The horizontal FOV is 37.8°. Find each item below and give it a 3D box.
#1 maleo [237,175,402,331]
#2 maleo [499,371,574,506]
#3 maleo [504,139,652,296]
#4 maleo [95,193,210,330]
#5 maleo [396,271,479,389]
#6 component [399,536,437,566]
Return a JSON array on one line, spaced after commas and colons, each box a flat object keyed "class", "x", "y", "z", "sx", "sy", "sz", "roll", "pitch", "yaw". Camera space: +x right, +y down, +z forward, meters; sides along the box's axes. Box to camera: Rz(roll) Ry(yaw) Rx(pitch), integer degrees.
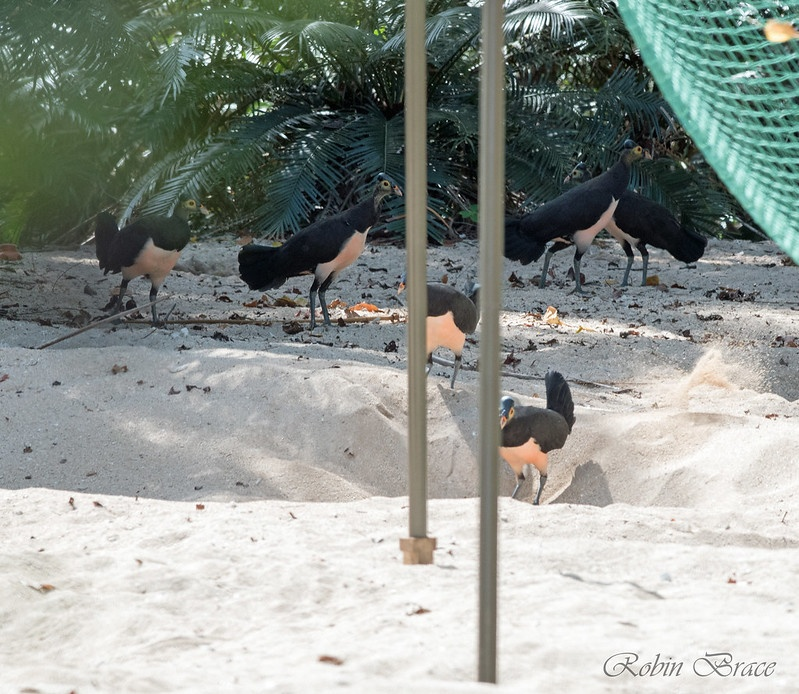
[{"class": "maleo", "x": -0.692, "y": -0.764, "z": 9.359, "sx": 1.174, "sy": 1.176, "sz": 0.424, "roll": 3, "pitch": 14, "yaw": -2}, {"class": "maleo", "x": 0.745, "y": 0.534, "z": 6.961, "sx": 0.403, "sy": 0.774, "sz": 1.104, "roll": 1, "pitch": 1, "yaw": 28}, {"class": "maleo", "x": 1.501, "y": -1.188, "z": 10.558, "sx": 1.577, "sy": 1.027, "sz": 0.451, "roll": -8, "pitch": 13, "yaw": 2}, {"class": "maleo", "x": -2.035, "y": -0.637, "z": 9.189, "sx": 0.703, "sy": 0.816, "sz": 1.024, "roll": 1, "pitch": 13, "yaw": -13}, {"class": "maleo", "x": 0.338, "y": -0.091, "z": 7.818, "sx": 0.333, "sy": 0.713, "sz": 0.897, "roll": 5, "pitch": 13, "yaw": 2}, {"class": "component", "x": 0.072, "y": 0.864, "z": 4.902, "sx": 0.151, "sy": 0.094, "sz": 0.141, "roll": 0, "pitch": 1, "yaw": 18}]
